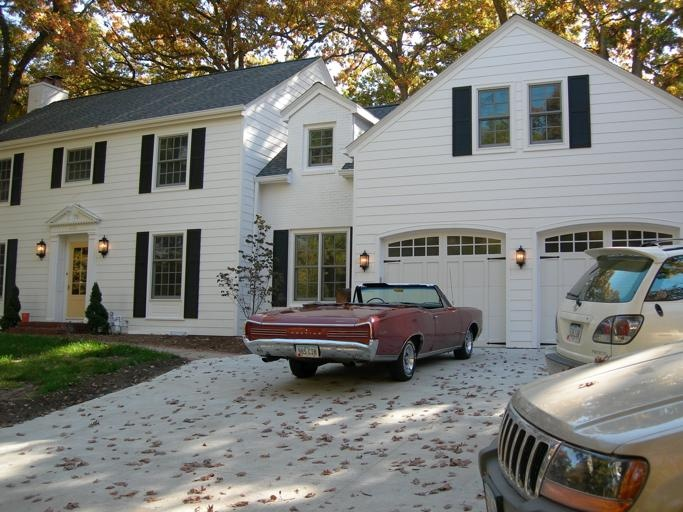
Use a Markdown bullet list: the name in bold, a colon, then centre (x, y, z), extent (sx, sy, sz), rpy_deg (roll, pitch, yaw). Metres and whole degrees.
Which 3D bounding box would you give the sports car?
- **sports car**: centre (0.866, 1.178, 9.026), extent (1.694, 0.957, 3.908), rpy_deg (-1, -2, 31)

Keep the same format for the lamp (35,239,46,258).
- **lamp**: centre (-11.147, -0.237, 19.597), extent (0.477, 0.679, 0.287), rpy_deg (-2, 2, 24)

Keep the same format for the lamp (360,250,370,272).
- **lamp**: centre (0.634, 0.147, 14.491), extent (0.289, 0.568, 0.168), rpy_deg (-3, 2, 5)

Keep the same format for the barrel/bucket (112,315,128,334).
- **barrel/bucket**: centre (-7.388, 2.299, 17.622), extent (0.579, 0.500, 0.541), rpy_deg (-1, 1, 0)

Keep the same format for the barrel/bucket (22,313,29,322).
- **barrel/bucket**: centre (-11.590, 2.231, 19.369), extent (0.308, 0.284, 0.309), rpy_deg (-6, -10, -1)

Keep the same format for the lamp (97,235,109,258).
- **lamp**: centre (-8.350, -0.316, 18.528), extent (0.463, 0.644, 0.250), rpy_deg (-2, 2, 31)
